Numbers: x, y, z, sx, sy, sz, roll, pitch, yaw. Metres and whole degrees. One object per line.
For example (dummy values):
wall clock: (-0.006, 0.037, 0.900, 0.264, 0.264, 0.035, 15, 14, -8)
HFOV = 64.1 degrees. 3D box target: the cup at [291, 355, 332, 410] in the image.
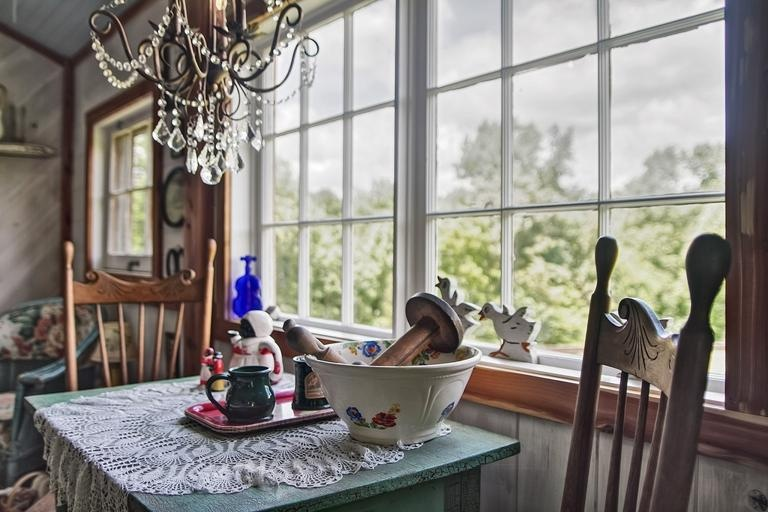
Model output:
cup: (-0.241, 0.413, 2.043, 0.144, 0.184, 0.152, 0, -3, 0)

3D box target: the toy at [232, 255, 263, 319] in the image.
toy: (-0.682, 0.150, 3.057, 0.148, 0.300, 0.220, -6, 15, -22)

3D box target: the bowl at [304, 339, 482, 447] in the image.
bowl: (0.014, 0.342, 1.761, 0.330, 0.178, 0.344, 0, -13, 0)
